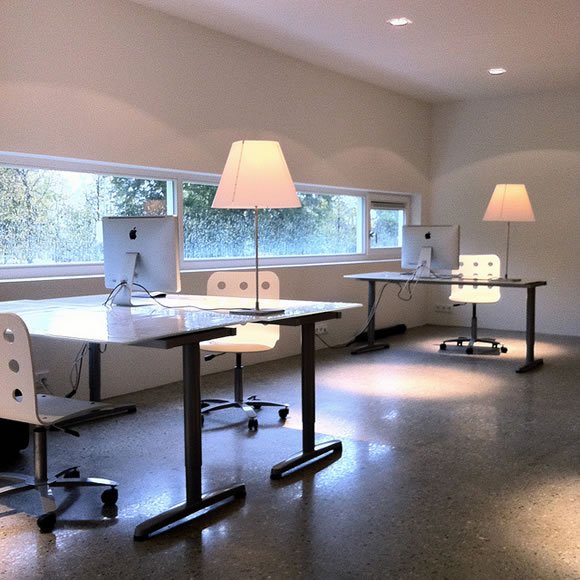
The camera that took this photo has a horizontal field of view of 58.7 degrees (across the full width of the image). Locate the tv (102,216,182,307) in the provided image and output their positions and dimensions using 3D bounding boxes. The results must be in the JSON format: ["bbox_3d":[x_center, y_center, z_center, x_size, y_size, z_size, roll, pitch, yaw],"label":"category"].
[{"bbox_3d":[-0.780,-0.151,2.696,0.502,0.413,0.230,3,11,24],"label":"tv"}]

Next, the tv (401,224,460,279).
[{"bbox_3d":[1.365,-0.369,5.007,0.548,0.435,0.175,4,12,32],"label":"tv"}]

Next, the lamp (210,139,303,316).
[{"bbox_3d":[-0.179,-0.332,2.655,0.404,0.857,0.919,-1,2,-6],"label":"lamp"}]

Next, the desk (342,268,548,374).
[{"bbox_3d":[1.663,0.263,5.435,1.862,0.892,1.442,1,2,34],"label":"desk"}]
